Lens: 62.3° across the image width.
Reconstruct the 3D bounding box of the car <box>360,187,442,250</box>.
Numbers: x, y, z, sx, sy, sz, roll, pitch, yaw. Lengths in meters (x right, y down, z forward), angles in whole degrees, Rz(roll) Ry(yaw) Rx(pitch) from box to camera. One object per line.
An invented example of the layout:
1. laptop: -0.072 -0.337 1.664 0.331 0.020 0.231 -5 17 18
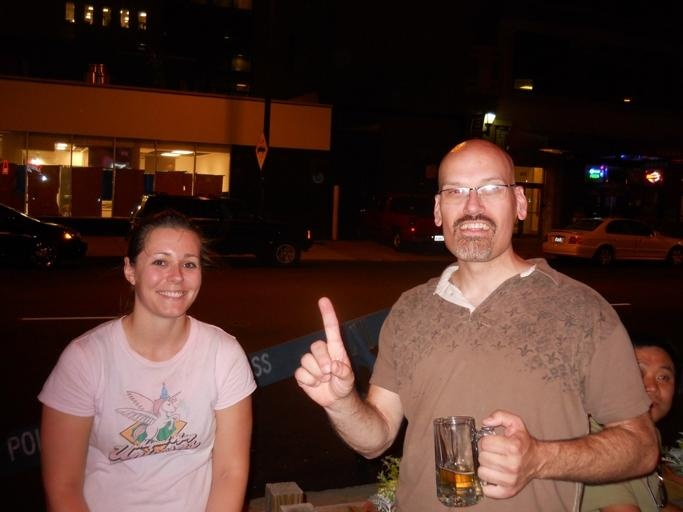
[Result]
1. car: 2.410 -1.507 22.982 1.594 1.335 3.487 -3 10 -23
